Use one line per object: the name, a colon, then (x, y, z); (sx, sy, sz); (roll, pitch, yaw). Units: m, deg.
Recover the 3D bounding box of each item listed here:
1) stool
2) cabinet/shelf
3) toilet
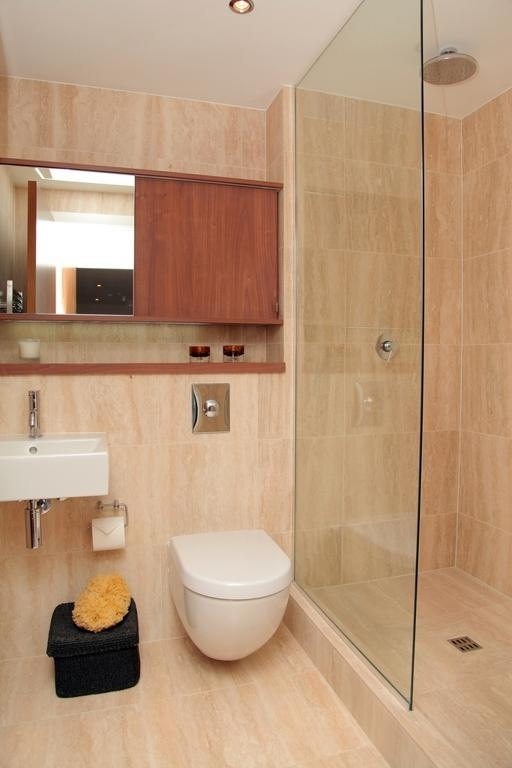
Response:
stool: (-0.532, 0.832, 1.974); (0.274, 0.234, 0.319); (-3, 25, -8)
cabinet/shelf: (-0.227, -0.558, 2.369); (0.467, 0.575, 0.172); (1, 4, -15)
toilet: (-0.089, 0.711, 1.928); (0.369, 0.319, 0.512); (-4, 3, -12)
